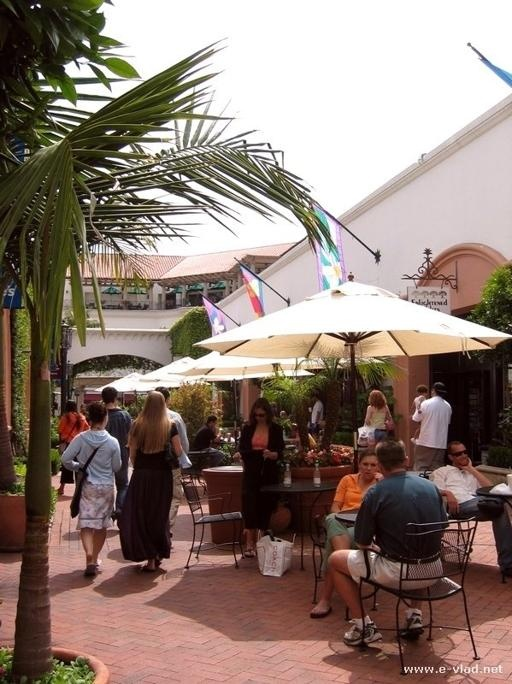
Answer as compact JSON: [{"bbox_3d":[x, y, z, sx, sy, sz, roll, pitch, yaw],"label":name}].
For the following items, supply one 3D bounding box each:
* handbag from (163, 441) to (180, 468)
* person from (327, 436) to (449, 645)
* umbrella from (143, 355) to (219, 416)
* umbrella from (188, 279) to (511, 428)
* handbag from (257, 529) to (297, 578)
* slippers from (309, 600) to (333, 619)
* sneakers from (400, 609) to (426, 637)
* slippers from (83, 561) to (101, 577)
[{"bbox_3d":[-0.896,1.179,5.875,0.102,0.234,0.263,-9,-18,5],"label":"handbag"},{"bbox_3d":[0.843,1.255,3.454,0.650,1.257,0.575,0,-11,-5],"label":"person"},{"bbox_3d":[-2.084,1.435,15.506,2.007,2.016,2.101,-1,1,8],"label":"umbrella"},{"bbox_3d":[0.916,-0.099,5.787,2.405,1.496,2.242,0,-4,-32],"label":"umbrella"},{"bbox_3d":[0.209,2.122,5.683,0.500,0.568,0.324,3,-28,2],"label":"handbag"},{"bbox_3d":[0.472,1.996,4.163,0.073,0.075,0.201,-8,-19,19],"label":"slippers"},{"bbox_3d":[1.000,1.828,3.670,0.121,0.154,0.329,0,-13,4],"label":"sneakers"},{"bbox_3d":[-1.698,2.380,5.812,0.105,0.113,0.271,-1,-24,-5],"label":"slippers"}]
